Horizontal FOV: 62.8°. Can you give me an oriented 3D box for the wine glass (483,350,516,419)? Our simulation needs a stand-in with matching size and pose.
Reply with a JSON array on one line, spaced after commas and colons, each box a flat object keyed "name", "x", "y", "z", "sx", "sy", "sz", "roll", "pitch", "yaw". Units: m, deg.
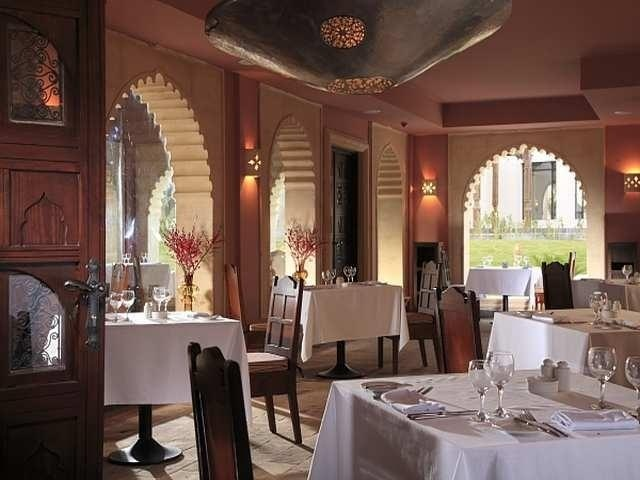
[{"name": "wine glass", "x": 0.716, "y": 0.552, "z": 2.113, "sx": 0.100, "sy": 0.279, "sz": 0.368, "roll": 0, "pitch": 2, "yaw": 18}]

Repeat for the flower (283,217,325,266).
[{"name": "flower", "x": -0.260, "y": 0.021, "z": 8.011, "sx": 0.606, "sy": 0.880, "sz": 0.600, "roll": 0, "pitch": -2, "yaw": 29}]

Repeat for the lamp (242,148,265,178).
[{"name": "lamp", "x": -0.921, "y": -1.049, "z": 7.145, "sx": 0.175, "sy": 0.374, "sz": 0.278, "roll": 1, "pitch": 3, "yaw": 38}]

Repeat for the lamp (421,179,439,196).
[{"name": "lamp", "x": 2.442, "y": -1.168, "z": 11.683, "sx": 0.310, "sy": 0.363, "sz": 0.121, "roll": 3, "pitch": 4, "yaw": 8}]

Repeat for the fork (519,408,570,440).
[{"name": "fork", "x": 0.798, "y": 0.659, "z": 1.918, "sx": 0.040, "sy": 0.044, "sz": 0.286, "roll": 1, "pitch": 3, "yaw": -12}]

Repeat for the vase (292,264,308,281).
[{"name": "vase", "x": -0.263, "y": 0.441, "z": 7.064, "sx": 0.230, "sy": 0.249, "sz": 0.248, "roll": 3, "pitch": -1, "yaw": -1}]

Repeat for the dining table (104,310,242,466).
[{"name": "dining table", "x": -1.025, "y": 0.833, "z": 3.977, "sx": 1.116, "sy": 0.935, "sz": 1.109, "roll": 4, "pitch": -7, "yaw": -41}]

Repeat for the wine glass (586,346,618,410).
[{"name": "wine glass", "x": 1.160, "y": 0.558, "z": 2.147, "sx": 0.092, "sy": 0.253, "sz": 0.197, "roll": 1, "pitch": 3, "yaw": 37}]

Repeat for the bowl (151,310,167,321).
[{"name": "bowl", "x": -1.208, "y": 0.561, "z": 3.919, "sx": 0.090, "sy": 0.051, "sz": 0.069, "roll": 1, "pitch": -1, "yaw": 4}]
